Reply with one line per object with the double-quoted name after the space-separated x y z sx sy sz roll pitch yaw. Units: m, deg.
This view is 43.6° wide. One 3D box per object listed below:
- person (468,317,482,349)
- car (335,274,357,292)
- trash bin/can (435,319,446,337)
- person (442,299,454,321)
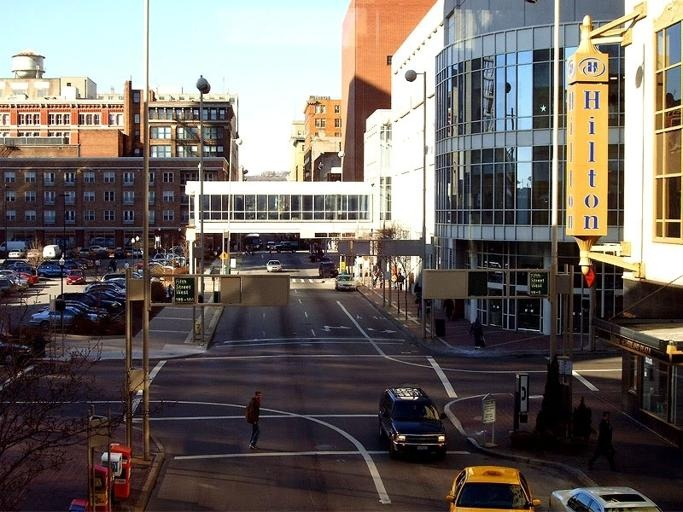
7.978 4.455 50.108 0.603 1.728 1.128 -2 3 4 "person"
0.462 2.589 81.797 1.918 1.572 2.330 -2 3 0 "car"
6.237 4.550 54.034 0.625 1.115 1.038 -2 3 4 "trash bin/can"
7.846 3.928 62.091 0.606 1.377 1.879 -1 3 9 "person"
